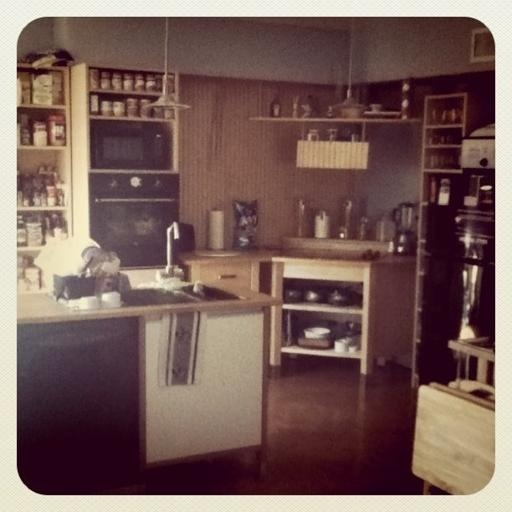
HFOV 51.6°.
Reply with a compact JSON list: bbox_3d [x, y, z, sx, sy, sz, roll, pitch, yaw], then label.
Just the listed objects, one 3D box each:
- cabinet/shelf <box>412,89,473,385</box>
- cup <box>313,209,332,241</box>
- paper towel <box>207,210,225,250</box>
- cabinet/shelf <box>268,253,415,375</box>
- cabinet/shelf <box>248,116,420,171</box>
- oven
[{"bbox_3d":[0.950,-0.147,2.672,0.220,1.264,0.126,2,13,26],"label":"cabinet/shelf"},{"bbox_3d":[0.441,-0.211,3.599,0.110,0.184,0.099,3,7,13],"label":"cup"},{"bbox_3d":[-0.269,-0.178,3.534,0.112,0.259,0.163,1,7,-4],"label":"paper towel"},{"bbox_3d":[0.562,0.332,3.466,0.916,0.770,0.669,4,10,35],"label":"cabinet/shelf"},{"bbox_3d":[0.513,-0.741,3.445,0.971,0.353,0.431,3,8,10],"label":"cabinet/shelf"},{"bbox_3d":[-0.720,-0.130,3.210,0.548,0.622,0.463,2,-24,-17],"label":"oven"}]
